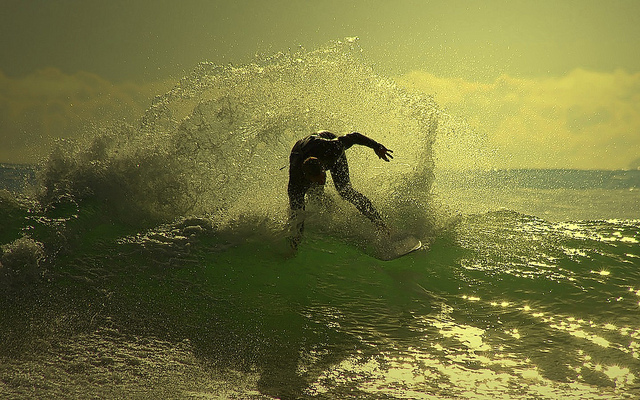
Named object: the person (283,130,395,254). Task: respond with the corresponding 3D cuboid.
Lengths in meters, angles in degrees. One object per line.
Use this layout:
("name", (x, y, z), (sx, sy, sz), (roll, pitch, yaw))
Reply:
("person", (0.187, -0.111, 10.456), (1.550, 1.575, 0.875), (2, 8, -38))
